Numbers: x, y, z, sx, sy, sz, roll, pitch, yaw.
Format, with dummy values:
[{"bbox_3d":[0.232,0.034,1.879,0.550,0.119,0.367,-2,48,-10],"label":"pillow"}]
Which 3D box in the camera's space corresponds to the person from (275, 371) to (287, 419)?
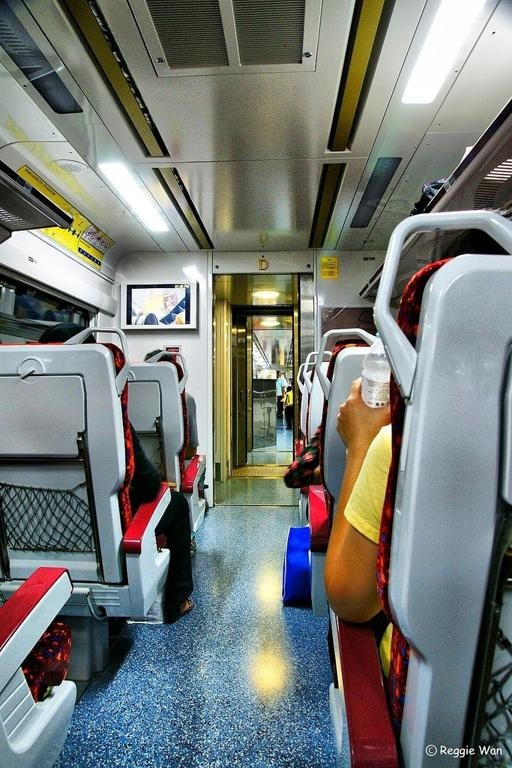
[{"bbox_3d":[0.682,0.299,12.032,0.328,1.361,0.354,-6,19,-7],"label":"person"}]
